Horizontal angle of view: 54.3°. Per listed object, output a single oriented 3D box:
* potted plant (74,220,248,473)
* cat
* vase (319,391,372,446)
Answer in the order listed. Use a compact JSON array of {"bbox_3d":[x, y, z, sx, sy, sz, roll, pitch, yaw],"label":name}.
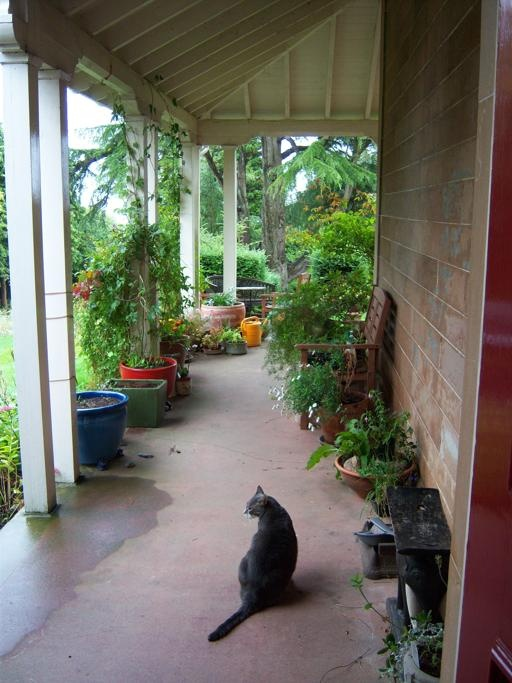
[{"bbox_3d":[-1.235,-0.282,5.512,0.819,1.992,1.340,5,10,33],"label":"potted plant"},{"bbox_3d":[0.059,0.959,2.441,0.236,0.862,0.348,20,-14,-12],"label":"cat"},{"bbox_3d":[0.753,0.651,4.293,0.391,0.345,0.413,3,9,2],"label":"vase"}]
